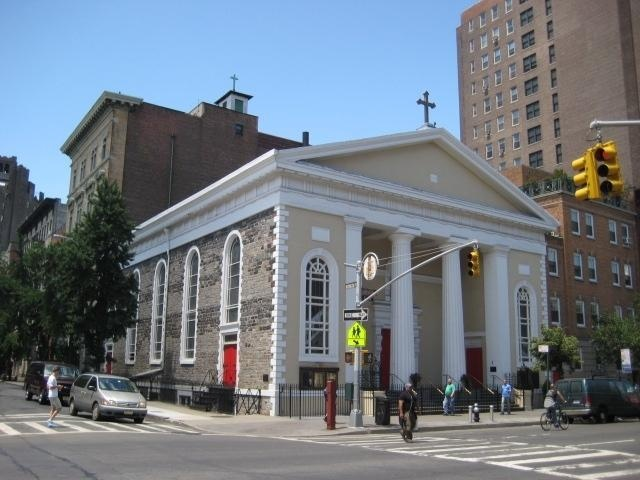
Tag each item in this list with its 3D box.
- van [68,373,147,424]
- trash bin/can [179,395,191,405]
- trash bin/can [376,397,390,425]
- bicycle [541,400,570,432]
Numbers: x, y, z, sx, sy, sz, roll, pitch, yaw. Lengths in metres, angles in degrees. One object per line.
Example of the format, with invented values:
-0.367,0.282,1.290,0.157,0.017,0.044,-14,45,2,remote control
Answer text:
-9.976,7.345,29.801,4.054,2.442,1.848,-13,-22,35,van
-8.495,10.037,39.898,0.330,0.736,1.526,10,-21,-27,trash bin/can
2.918,7.999,29.629,0.432,1.205,0.833,15,-20,-31,trash bin/can
10.981,8.416,30.554,1.144,1.696,2.407,-10,-17,43,bicycle
